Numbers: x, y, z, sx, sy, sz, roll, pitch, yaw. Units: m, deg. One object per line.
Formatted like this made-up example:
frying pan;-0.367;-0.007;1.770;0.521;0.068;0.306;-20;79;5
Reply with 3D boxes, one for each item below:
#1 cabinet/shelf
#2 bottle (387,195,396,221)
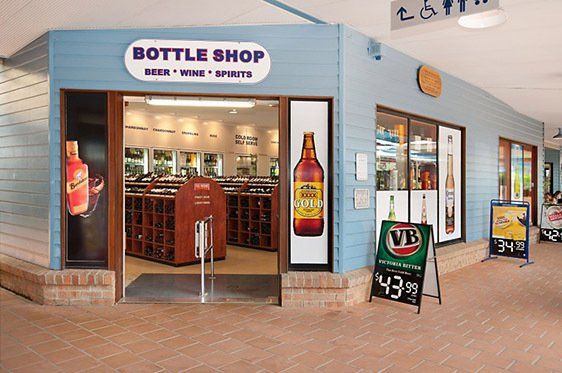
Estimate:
cabinet/shelf;-2.613;0.709;10.389;3.024;1.401;2.918;1;1;37
bottle;2.209;0.429;7.753;0.093;0.487;0.280;5;7;38
